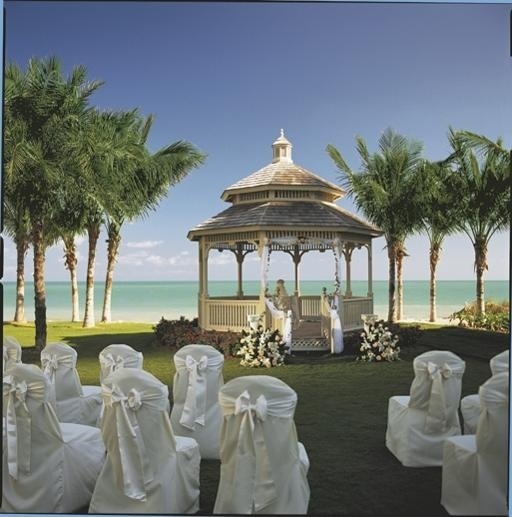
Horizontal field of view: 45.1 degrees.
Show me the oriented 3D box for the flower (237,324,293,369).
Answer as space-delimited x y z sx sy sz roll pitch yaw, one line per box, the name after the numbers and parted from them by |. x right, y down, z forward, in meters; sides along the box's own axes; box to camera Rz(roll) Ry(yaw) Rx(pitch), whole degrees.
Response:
0.160 1.923 13.294 0.756 0.693 0.850 0 -4 -9 | flower

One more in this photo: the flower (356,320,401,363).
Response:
2.691 1.830 13.832 0.874 0.867 1.101 0 -5 -1 | flower

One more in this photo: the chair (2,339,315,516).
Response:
-0.960 1.751 5.941 2.913 1.453 0.675 -1 -5 6 | chair
